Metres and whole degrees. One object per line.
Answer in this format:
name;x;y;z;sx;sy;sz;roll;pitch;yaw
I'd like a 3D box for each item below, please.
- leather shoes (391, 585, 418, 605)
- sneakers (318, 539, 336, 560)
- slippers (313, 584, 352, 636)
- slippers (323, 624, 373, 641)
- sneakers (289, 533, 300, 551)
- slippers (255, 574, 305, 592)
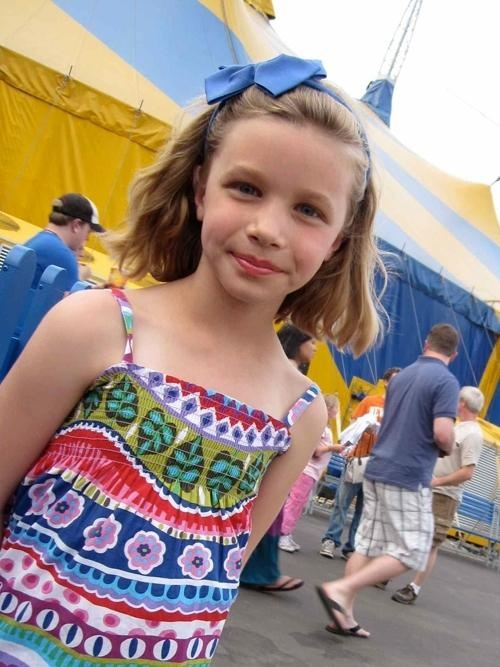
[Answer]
leather shoes;1.327;2.229;4.102;0.116;0.125;0.280;1;-21;40
sneakers;0.799;2.223;4.976;0.123;0.132;0.338;6;-12;4
slippers;0.463;1.525;2.678;0.102;0.379;0.140;-19;16;11
slippers;0.563;1.693;2.723;0.279;0.081;0.113;3;-7;-1
sneakers;0.435;2.116;4.876;0.111;0.138;0.324;0;-16;-3
slippers;0.203;1.579;3.023;0.323;0.085;0.116;-6;-2;18
